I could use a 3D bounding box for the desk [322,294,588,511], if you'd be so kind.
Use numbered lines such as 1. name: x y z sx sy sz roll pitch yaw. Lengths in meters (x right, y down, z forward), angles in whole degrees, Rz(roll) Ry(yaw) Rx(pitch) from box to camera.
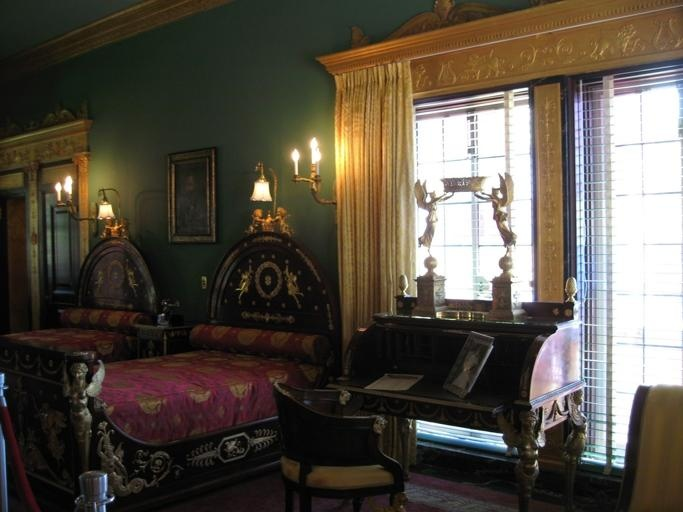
1. desk: 0.828 0.836 4.627 1.998 2.022 1.442 -1 -1 41

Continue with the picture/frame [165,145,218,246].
1. picture/frame: -1.736 -0.710 6.818 1.108 1.635 0.102 0 -1 35

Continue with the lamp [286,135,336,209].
1. lamp: -0.203 -0.766 5.519 0.458 0.683 0.398 2 0 -43

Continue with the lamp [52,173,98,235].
1. lamp: -3.594 -0.773 7.850 0.511 0.671 1.577 -2 4 -27

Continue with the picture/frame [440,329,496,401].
1. picture/frame: 0.909 0.775 4.111 0.054 0.495 0.351 24 3 -22

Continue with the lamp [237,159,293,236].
1. lamp: -0.753 -0.609 6.050 0.451 0.775 0.730 -1 3 -10

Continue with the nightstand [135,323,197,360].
1. nightstand: -1.963 0.882 6.428 0.482 0.502 0.387 -2 -2 37
